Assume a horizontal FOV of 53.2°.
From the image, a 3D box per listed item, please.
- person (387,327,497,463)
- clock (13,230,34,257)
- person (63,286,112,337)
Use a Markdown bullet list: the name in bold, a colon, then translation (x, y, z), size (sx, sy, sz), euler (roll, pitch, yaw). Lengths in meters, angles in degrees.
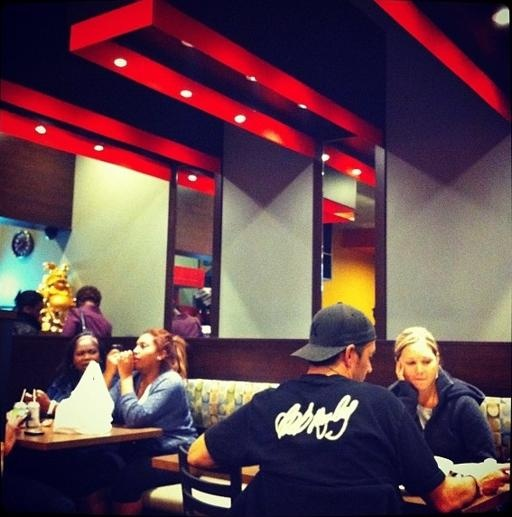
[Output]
- **person**: translation (0.904, 0.772, 2.552), size (0.488, 0.751, 0.448), euler (-15, -9, 43)
- **clock**: translation (-2.688, -0.159, 5.887), size (0.075, 0.320, 0.313), euler (6, -36, -48)
- **person**: translation (-1.359, 0.434, 4.210), size (0.356, 0.459, 0.769), euler (7, -10, -15)
